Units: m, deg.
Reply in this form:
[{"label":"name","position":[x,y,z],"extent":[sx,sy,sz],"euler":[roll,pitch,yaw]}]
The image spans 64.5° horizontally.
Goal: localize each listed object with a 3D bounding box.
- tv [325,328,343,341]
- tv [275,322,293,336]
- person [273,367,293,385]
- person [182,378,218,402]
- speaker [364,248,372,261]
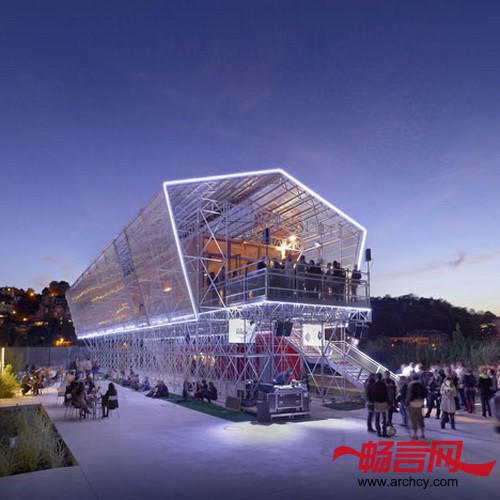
[{"label":"tv","position":[4.596,4.583,21.667],"extent":[1.111,0.692,1.283],"euler":[1,-9,0]},{"label":"tv","position":[1.313,3.101,15.836],"extent":[0.783,0.906,0.450],"euler":[4,-8,-26]},{"label":"person","position":[1.440,5.485,17.244],"extent":[0.651,0.673,1.327],"euler":[0,-9,8]},{"label":"person","position":[-2.520,6.703,19.011],"extent":[0.964,1.092,2.723],"euler":[5,-10,-30]},{"label":"speaker","position":[5.648,0.255,18.884],"extent":[0.243,0.760,1.866],"euler":[-1,-9,15]}]
